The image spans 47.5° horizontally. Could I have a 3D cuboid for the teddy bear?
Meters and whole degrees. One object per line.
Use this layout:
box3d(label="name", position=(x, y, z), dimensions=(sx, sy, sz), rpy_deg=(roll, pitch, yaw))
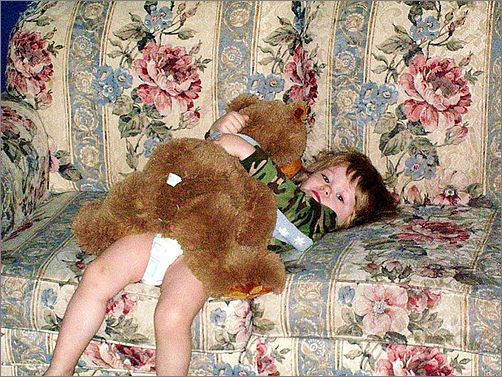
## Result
box3d(label="teddy bear", position=(-0.168, -0.027, 1.857), dimensions=(0.717, 0.750, 0.313), rpy_deg=(12, -22, -17))
